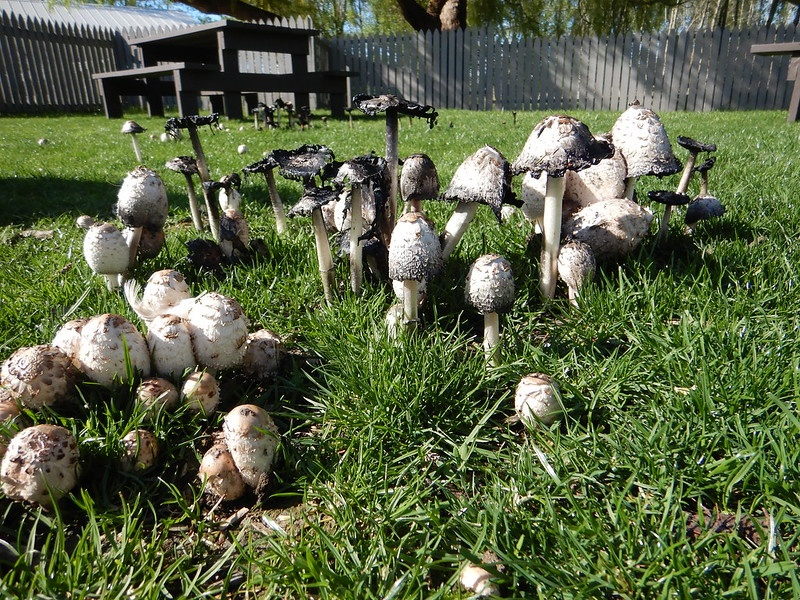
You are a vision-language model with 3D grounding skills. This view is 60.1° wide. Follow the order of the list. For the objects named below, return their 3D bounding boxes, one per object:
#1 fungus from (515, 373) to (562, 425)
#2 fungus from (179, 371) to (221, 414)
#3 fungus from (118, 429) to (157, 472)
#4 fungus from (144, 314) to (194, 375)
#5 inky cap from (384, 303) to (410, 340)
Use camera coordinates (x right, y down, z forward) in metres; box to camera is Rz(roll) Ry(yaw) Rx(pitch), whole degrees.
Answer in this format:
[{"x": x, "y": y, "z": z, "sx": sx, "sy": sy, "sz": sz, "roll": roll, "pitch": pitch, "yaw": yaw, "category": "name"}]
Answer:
[{"x": 0.731, "y": 0.522, "z": 3.738, "sx": 0.221, "sy": 0.286, "sz": 0.247, "roll": 2, "pitch": 2, "yaw": 36, "category": "fungus"}, {"x": -1.069, "y": 0.508, "z": 3.725, "sx": 0.188, "sy": 0.229, "sz": 0.219, "roll": 10, "pitch": -15, "yaw": 0, "category": "fungus"}, {"x": -1.329, "y": 0.775, "z": 3.538, "sx": 0.154, "sy": 0.213, "sz": 0.164, "roll": 0, "pitch": 25, "yaw": -2, "category": "fungus"}, {"x": -1.246, "y": 0.231, "z": 3.903, "sx": 0.264, "sy": 0.343, "sz": 0.283, "roll": -7, "pitch": 13, "yaw": -34, "category": "fungus"}, {"x": -0.021, "y": 0.124, "z": 4.179, "sx": 0.138, "sy": 0.181, "sz": 0.096, "roll": 13, "pitch": 1, "yaw": -20, "category": "inky cap"}]
